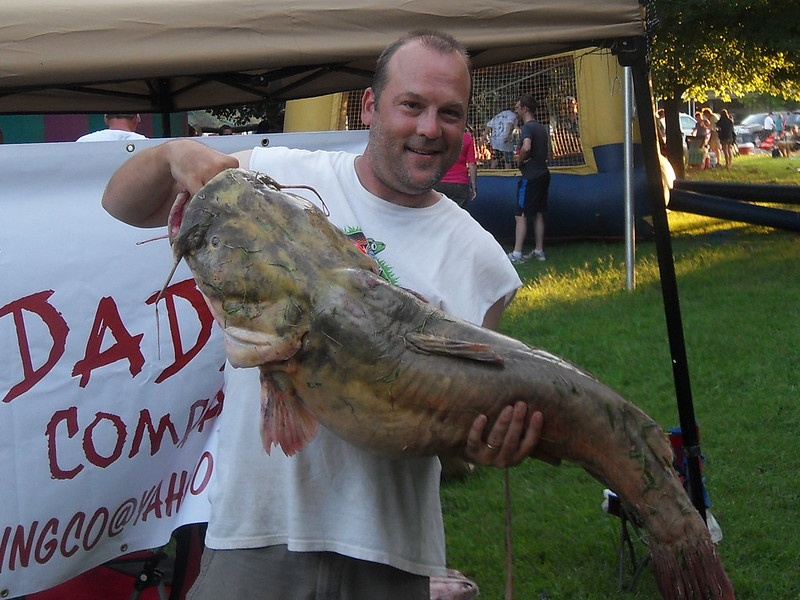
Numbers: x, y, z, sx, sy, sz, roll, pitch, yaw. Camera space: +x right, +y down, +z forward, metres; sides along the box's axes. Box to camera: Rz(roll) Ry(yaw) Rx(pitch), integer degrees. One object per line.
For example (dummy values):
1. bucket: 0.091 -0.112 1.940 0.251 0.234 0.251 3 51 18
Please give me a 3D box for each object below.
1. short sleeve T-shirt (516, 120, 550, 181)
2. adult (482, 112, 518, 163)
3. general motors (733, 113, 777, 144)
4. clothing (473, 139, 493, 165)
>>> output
1. short sleeve T-shirt: 2.452 -2.756 11.252 0.444 1.019 0.782 -2 2 39
2. adult: 2.159 -3.550 13.425 0.579 1.662 0.621 7 24 17
3. general motors: 24.198 -12.037 42.318 4.297 2.124 2.138 -9 14 -32
4. clothing: 1.864 -3.309 13.787 0.200 0.661 0.430 -2 -5 40
